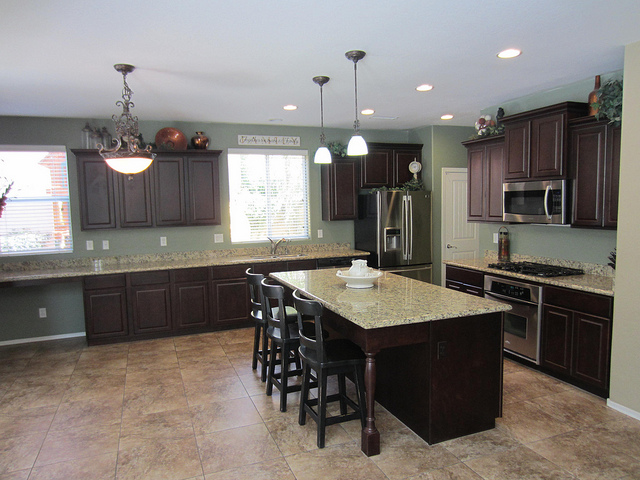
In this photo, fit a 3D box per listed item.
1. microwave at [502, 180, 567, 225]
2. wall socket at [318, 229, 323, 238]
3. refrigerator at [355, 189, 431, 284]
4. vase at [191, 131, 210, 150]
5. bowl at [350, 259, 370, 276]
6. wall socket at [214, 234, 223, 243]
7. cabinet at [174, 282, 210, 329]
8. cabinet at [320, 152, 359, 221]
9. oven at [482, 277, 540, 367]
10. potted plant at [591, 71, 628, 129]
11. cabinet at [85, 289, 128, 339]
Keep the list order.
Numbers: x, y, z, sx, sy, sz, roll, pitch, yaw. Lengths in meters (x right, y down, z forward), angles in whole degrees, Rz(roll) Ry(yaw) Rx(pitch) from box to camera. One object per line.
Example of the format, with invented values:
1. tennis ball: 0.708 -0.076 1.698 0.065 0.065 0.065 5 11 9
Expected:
1. microwave: 2.415 -0.406 5.079 0.412 0.459 0.705 -8 8 -32
2. wall socket: 0.007 -0.090 7.243 0.083 0.132 0.003 -6 6 -21
3. refrigerator: 1.199 0.211 7.254 1.016 1.912 0.709 -3 5 -25
4. vase: -1.630 -1.320 6.341 0.221 0.261 0.271 0 2 38
5. bowl: 0.371 0.269 4.361 0.144 0.144 0.147 -3 0 0
6. wall socket: -1.489 -0.016 6.726 0.126 0.129 0.029 2 0 -13
7. cabinet: -1.821 0.888 6.335 0.558 0.706 0.535 -2 -1 -22
8. cabinet: 0.437 -0.742 7.178 0.520 0.985 0.390 -1 4 9
9. oven: 2.283 0.827 5.105 0.739 0.907 0.694 7 16 42
10. potted plant: 2.657 -1.254 4.251 0.150 0.492 0.317 -7 6 -30
11. cabinet: -2.810 1.035 6.018 0.523 0.687 0.508 -4 -21 -25
